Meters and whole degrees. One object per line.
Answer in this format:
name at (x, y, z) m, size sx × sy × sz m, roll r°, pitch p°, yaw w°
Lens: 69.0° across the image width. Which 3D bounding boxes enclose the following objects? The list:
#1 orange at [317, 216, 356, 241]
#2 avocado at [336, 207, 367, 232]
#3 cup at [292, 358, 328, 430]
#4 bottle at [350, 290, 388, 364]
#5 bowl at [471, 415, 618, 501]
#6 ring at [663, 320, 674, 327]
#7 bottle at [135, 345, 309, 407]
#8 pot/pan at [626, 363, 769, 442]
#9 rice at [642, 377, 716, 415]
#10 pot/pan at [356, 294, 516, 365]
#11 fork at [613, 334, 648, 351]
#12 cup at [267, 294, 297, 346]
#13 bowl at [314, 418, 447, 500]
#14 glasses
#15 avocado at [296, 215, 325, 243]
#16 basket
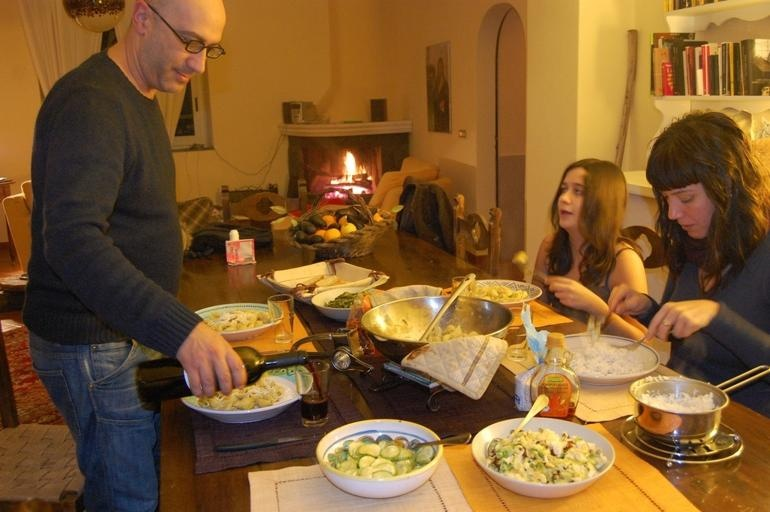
orange at (-0.283, -0.156, 3.183) m, size 0.170 × 0.066 × 0.170 m, roll -1°, pitch 13°, yaw 14°
avocado at (-0.201, -0.220, 3.315) m, size 0.115 × 0.078 × 0.185 m, roll 0°, pitch 14°, yaw -11°
cup at (-0.222, 0.411, 1.641) m, size 0.115 × 0.181 × 0.120 m, roll -6°, pitch -6°, yaw -1°
bottle at (-0.034, 0.255, 2.039) m, size 0.144 × 0.259 × 0.191 m, roll 7°, pitch -8°, yaw -14°
bowl at (0.427, 0.499, 1.386) m, size 0.263 × 0.091 × 0.263 m, roll -6°, pitch 16°, yaw 2°
ring at (0.919, 0.221, 1.807) m, size 0.024 × 0.024 × 0.008 m, roll 7°, pitch -33°, yaw -16°
bottle at (-0.447, 0.328, 1.561) m, size 0.482 × 0.155 × 0.085 m, roll -2°, pitch 18°, yaw -1°
pot/pan at (0.882, 0.356, 1.548) m, size 0.405 × 0.128 × 0.177 m, roll -7°, pitch 9°, yaw -30°
rice at (0.791, 0.386, 1.494) m, size 0.104 × 0.042 × 0.102 m, roll -2°, pitch 9°, yaw -5°
pot/pan at (0.158, 0.215, 1.808) m, size 0.293 × 0.096 × 0.290 m, roll -4°, pitch 12°, yaw 0°
fork at (0.815, 0.291, 1.843) m, size 0.060 × 0.015 × 0.083 m, roll -14°, pitch -10°, yaw -35°
cup at (-0.391, 0.239, 2.127) m, size 0.114 × 0.176 × 0.111 m, roll -4°, pitch 0°, yaw 0°
bowl at (-0.017, 0.518, 1.380) m, size 0.288 × 0.103 × 0.301 m, roll 0°, pitch 10°, yaw 0°
glasses at (-0.640, -0.763, 1.897) m, size 0.150 × 0.170 × 0.257 m, roll 8°, pitch 20°, yaw 28°
avocado at (-0.428, -0.145, 3.170) m, size 0.164 × 0.076 × 0.161 m, roll -17°, pitch 41°, yaw 3°
basket at (-0.264, -0.151, 3.185) m, size 0.449 × 0.192 × 0.452 m, roll 1°, pitch 17°, yaw 25°
